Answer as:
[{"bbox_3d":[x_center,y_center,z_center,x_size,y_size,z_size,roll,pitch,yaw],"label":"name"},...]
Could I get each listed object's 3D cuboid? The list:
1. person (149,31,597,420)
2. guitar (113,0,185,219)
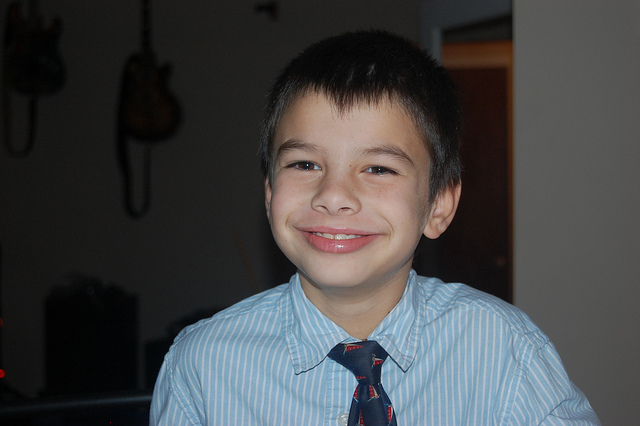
[{"bbox_3d":[0.090,0.005,1.826,1.125,1.045,0.551,1,-8,2],"label":"person"},{"bbox_3d":[-0.556,-0.334,2.062,0.218,0.688,0.045,0,-1,-15],"label":"guitar"}]
